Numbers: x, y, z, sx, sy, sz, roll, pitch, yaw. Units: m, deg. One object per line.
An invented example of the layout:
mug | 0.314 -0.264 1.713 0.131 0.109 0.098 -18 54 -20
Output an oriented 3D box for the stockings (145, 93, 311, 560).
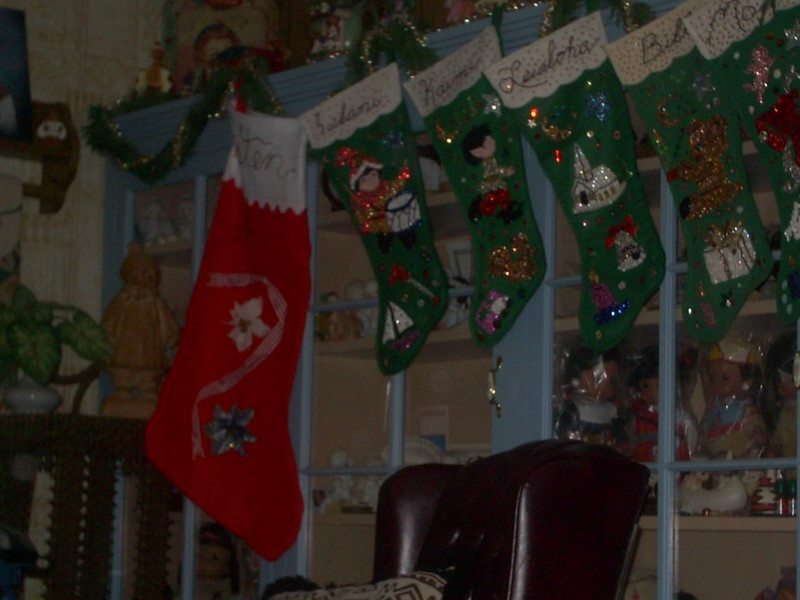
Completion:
stockings | -0.517 0.102 4.250 0.481 1.357 0.171 1 -1 -8

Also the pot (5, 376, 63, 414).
pot | -1.188 0.305 4.505 0.151 0.118 0.140 1 -2 0
